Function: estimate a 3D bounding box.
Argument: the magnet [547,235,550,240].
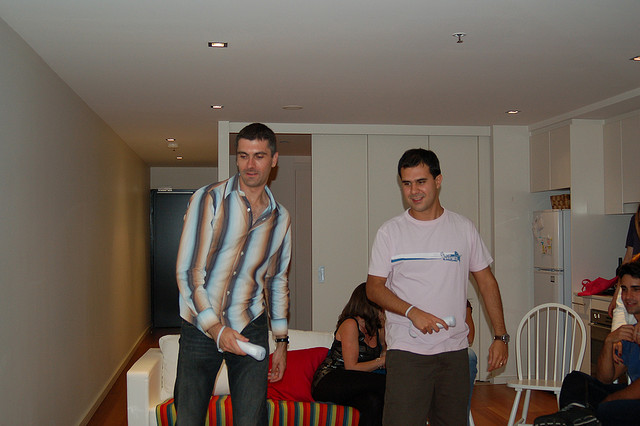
[{"bbox_3d":[2.745,0.295,5.744,0.033,0.064,0.034,5,-11,-8],"label":"magnet"}]

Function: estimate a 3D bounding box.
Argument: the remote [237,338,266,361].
[{"bbox_3d":[-0.303,0.649,2.272,0.157,0.111,0.085,2,-2,-37],"label":"remote"}]

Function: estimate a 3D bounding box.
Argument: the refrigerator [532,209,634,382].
[{"bbox_3d":[3.009,0.989,5.597,0.935,2.069,0.580,0,-1,25],"label":"refrigerator"}]

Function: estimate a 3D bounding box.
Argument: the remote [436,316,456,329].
[{"bbox_3d":[0.698,0.613,2.682,0.112,0.069,0.048,-19,-10,20],"label":"remote"}]

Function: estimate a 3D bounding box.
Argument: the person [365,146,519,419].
[{"bbox_3d":[0.712,0.415,2.817,0.804,1.610,0.389,1,-1,-17],"label":"person"}]
